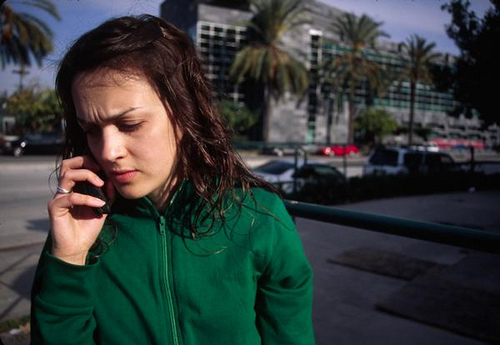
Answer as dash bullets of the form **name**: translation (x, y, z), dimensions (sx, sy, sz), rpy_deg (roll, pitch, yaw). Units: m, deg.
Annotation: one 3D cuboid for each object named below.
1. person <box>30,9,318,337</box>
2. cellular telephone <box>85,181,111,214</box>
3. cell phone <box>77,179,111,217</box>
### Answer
- **person**: translation (-0.328, 0.014, 1.773), dimensions (1.119, 1.355, 0.502), rpy_deg (0, 4, 8)
- **cellular telephone**: translation (-0.605, 0.098, 1.718), dimensions (0.034, 0.131, 0.090), rpy_deg (-24, 2, -7)
- **cell phone**: translation (-0.607, 0.089, 1.730), dimensions (0.034, 0.151, 0.103), rpy_deg (-37, 18, -33)
